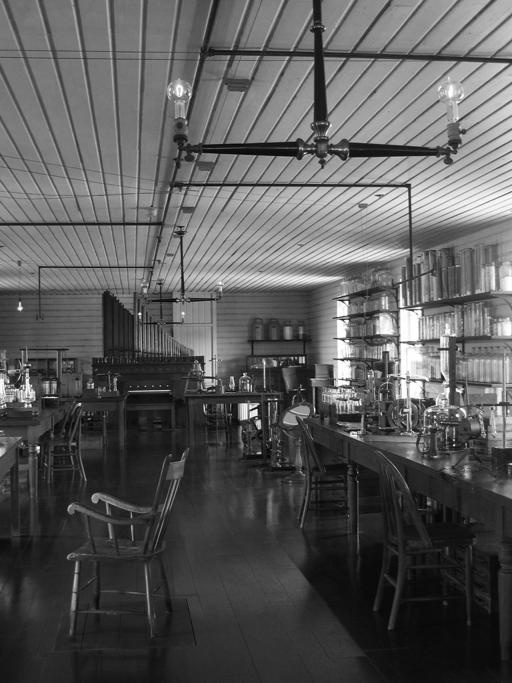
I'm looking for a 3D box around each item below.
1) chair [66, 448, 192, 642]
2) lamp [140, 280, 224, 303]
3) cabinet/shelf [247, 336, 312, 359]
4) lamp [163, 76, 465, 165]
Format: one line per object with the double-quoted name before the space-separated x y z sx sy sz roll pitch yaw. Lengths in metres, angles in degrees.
"chair" -0.651 0.994 2.861 0.577 0.813 0.573 4 -9 -29
"lamp" -1.532 -0.897 12.076 1.225 0.452 1.302 0 -7 -5
"cabinet/shelf" 0.622 0.152 15.599 1.714 0.488 0.530 0 -4 3
"lamp" 0.242 -0.826 2.163 1.123 0.362 0.175 0 -9 -1
